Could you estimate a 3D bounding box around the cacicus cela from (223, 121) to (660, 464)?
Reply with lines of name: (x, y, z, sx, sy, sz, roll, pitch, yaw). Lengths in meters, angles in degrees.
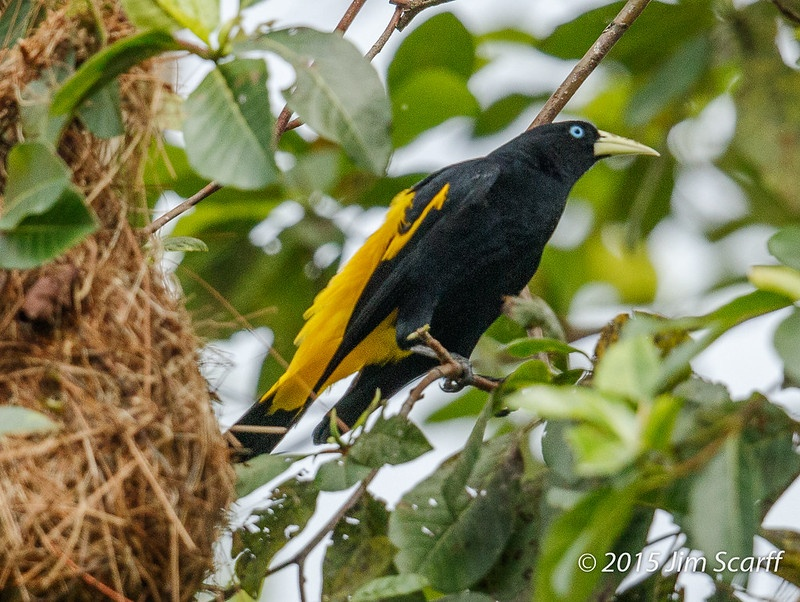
cacicus cela: (0.146, -0.063, 4.541, 0.662, 1.407, 0.338, 33, -6, 4)
